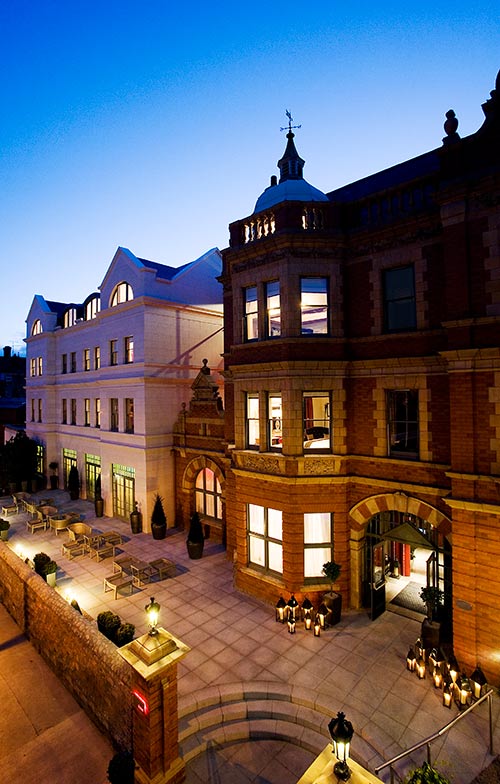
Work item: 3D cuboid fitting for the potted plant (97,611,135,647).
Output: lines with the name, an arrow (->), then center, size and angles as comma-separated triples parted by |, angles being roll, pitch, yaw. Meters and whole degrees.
potted plant -> -2.838, 4.915, 13.140 | 0.453, 0.519, 1.323 | 8, -11, -36

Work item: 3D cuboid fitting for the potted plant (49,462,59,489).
potted plant -> -10.042, 4.211, 31.839 | 0.579, 1.360, 0.613 | -2, -2, 5

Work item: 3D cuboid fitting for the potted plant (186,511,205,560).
potted plant -> -1.728, 4.477, 19.632 | 0.489, 1.400, 0.497 | -2, -2, 7

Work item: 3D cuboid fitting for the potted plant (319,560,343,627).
potted plant -> 1.983, 4.797, 15.032 | 0.454, 1.385, 1.019 | -2, -1, 7
